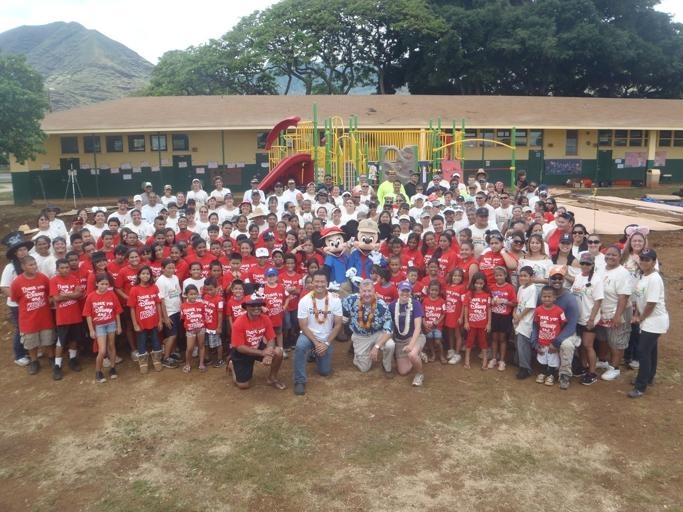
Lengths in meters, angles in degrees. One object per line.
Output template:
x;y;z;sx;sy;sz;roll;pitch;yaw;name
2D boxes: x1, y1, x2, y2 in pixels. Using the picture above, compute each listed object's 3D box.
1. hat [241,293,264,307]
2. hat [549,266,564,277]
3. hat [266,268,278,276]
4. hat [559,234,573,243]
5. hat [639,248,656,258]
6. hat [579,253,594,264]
-1.438;0.705;9.323;0.328;0.231;0.241;-1;9;6;hat
3.596;0.255;9.642;0.240;0.183;0.392;1;9;21;hat
-1.281;0.291;10.250;0.185;0.142;0.314;0;-6;-4;hat
3.913;-0.297;10.063;0.274;0.143;0.192;-10;12;-42;hat
4.860;-0.020;9.157;0.287;0.151;0.132;-3;9;-8;hat
4.064;0.047;9.580;0.147;0.193;0.197;-14;-14;37;hat
